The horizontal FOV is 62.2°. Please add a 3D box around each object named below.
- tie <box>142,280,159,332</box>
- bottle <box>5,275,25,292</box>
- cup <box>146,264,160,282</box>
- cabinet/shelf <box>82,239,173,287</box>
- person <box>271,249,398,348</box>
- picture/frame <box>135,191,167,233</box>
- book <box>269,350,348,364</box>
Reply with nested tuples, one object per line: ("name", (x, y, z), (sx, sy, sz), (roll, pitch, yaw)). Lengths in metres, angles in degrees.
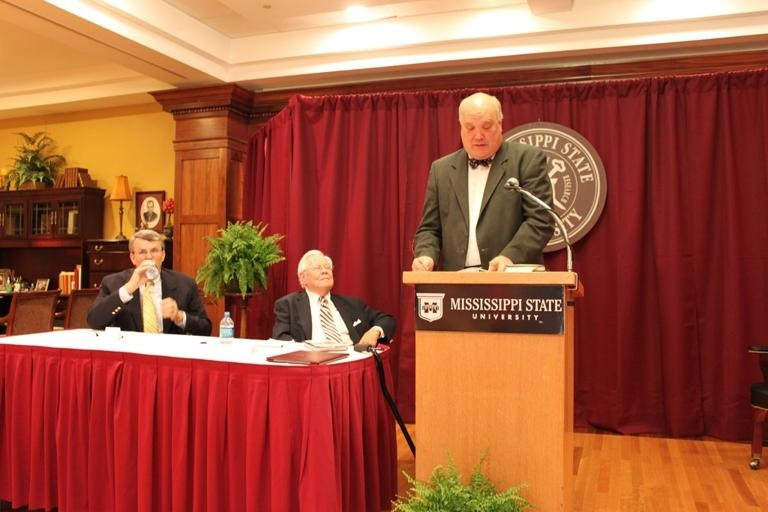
("tie", (-1.880, 0.407, 5.071), (0.162, 0.393, 0.117), (0, -1, 23))
("bottle", (-5.355, 0.413, 9.182), (0.279, 0.292, 0.186), (-1, -2, 10))
("cup", (-1.798, 0.136, 4.962), (0.121, 0.133, 0.119), (0, -7, 0))
("cabinet/shelf", (-3.525, 0.253, 8.266), (0.844, 0.833, 0.321), (0, -13, 42))
("person", (-0.462, 0.381, 5.114), (1.034, 0.930, 0.751), (0, -11, -18))
("picture/frame", (-3.043, -0.573, 8.310), (0.578, 0.738, 0.074), (-4, -10, 22))
("book", (-0.485, 0.620, 4.062), (0.484, 0.054, 0.370), (-3, 0, 21))
